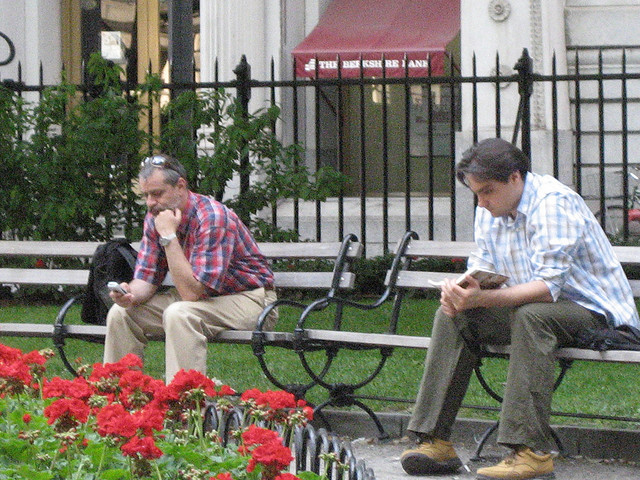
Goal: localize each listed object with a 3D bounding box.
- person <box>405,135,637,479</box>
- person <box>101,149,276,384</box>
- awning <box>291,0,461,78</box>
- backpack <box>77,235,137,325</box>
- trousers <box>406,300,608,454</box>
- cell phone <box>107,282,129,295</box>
[{"bbox_3d":[1.220,0.386,6.359,1.255,1.990,0.796,2,6,18],"label":"person"},{"bbox_3d":[-0.855,0.228,7.098,1.178,1.596,1.058,2,6,14],"label":"person"},{"bbox_3d":[0.754,-2.804,14.233,1.746,1.091,1.882,2,28,8],"label":"awning"},{"bbox_3d":[-1.493,0.206,7.444,0.281,0.593,0.428,10,23,7],"label":"backpack"},{"bbox_3d":[1.270,0.754,6.893,0.994,1.337,1.661,1,-11,27],"label":"trousers"},{"bbox_3d":[-1.349,0.315,6.929,0.123,0.089,0.201,-1,6,-11],"label":"cell phone"}]
